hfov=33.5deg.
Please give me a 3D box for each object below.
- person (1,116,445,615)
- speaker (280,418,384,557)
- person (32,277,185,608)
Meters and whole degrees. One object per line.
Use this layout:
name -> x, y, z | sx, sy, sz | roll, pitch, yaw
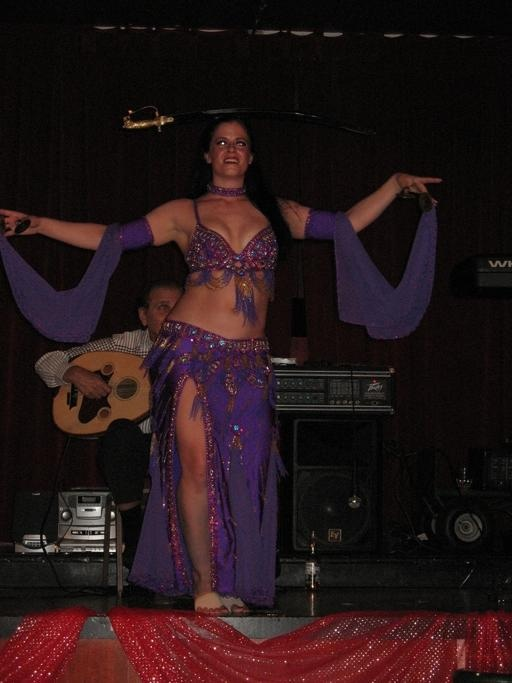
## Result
person -> -0.130, 0.054, 2.519 | 1.330, 1.448, 0.495 | 2, -4, 3
speaker -> 0.294, 0.485, 3.203 | 0.359, 0.518, 0.328 | -2, 17, -6
person -> -0.462, 0.310, 2.979 | 0.501, 1.128, 0.168 | 0, -10, 5
